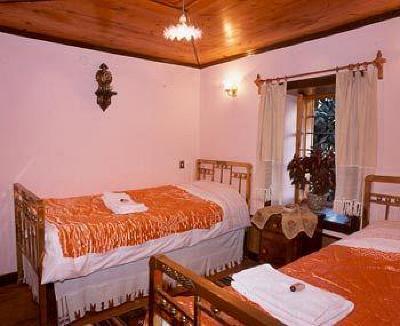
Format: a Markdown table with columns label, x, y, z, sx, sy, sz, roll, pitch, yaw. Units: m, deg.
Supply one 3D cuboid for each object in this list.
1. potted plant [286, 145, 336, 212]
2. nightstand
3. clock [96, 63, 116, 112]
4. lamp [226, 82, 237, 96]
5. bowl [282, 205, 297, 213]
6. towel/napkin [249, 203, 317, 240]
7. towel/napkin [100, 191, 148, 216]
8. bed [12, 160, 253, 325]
| label | x | y | z | sx | sy | sz | roll | pitch | yaw |
| --- | --- | --- | --- | --- | --- | --- | --- | --- | --- |
| potted plant | 1.305 | 0.190 | 3.579 | 0.626 | 0.748 | 0.631 | -2 | -3 | 44 |
| nightstand | 0.963 | 0.853 | 3.535 | 0.490 | 0.725 | 0.572 | 10 | -5 | -32 |
| clock | -1.158 | -0.937 | 3.835 | 0.255 | 0.583 | 0.136 | -1 | 4 | -26 |
| lamp | 0.432 | -0.997 | 4.195 | 0.156 | 0.196 | 0.164 | -7 | 11 | -26 |
| bowl | 0.985 | 0.497 | 3.368 | 0.090 | 0.042 | 0.082 | 1 | 3 | 0 |
| towel/napkin | 0.988 | 0.598 | 3.280 | 0.397 | 0.213 | 0.406 | -5 | 8 | -30 |
| towel/napkin | -0.846 | 0.427 | 3.345 | 0.251 | 0.125 | 0.347 | -2 | 7 | -32 |
| bed | -0.618 | 0.611 | 3.686 | 2.475 | 1.381 | 1.347 | -6 | 11 | -37 |
